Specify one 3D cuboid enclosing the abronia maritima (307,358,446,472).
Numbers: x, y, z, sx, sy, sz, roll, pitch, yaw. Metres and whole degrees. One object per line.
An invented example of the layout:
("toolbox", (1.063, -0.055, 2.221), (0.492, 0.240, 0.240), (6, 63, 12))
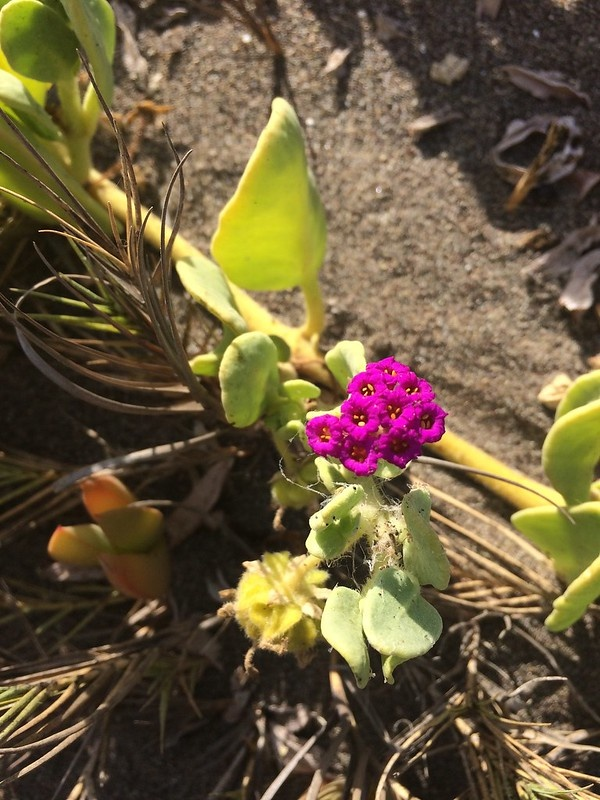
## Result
("abronia maritima", (0.085, 0.031, 0.917), (0.125, 0.053, 0.140), (38, 80, 12))
